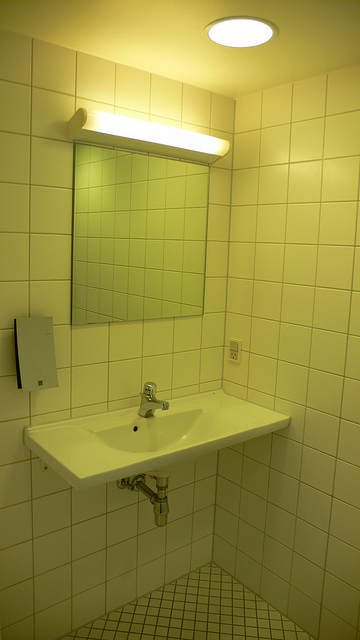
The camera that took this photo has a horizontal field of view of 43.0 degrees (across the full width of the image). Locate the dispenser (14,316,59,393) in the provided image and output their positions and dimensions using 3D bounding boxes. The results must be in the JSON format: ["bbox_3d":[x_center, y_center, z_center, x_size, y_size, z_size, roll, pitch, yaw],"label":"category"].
[{"bbox_3d":[-0.468,0.107,1.489,0.055,0.232,0.133,4,3,40],"label":"dispenser"}]

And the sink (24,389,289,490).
[{"bbox_3d":[-0.041,0.433,1.720,0.990,0.171,0.441,1,3,-42],"label":"sink"}]

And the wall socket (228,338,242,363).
[{"bbox_3d":[0.258,0.136,2.128,0.013,0.140,0.095,-5,9,-33],"label":"wall socket"}]

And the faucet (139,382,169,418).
[{"bbox_3d":[-0.115,0.301,1.741,0.064,0.174,0.201,-2,0,-26],"label":"faucet"}]
